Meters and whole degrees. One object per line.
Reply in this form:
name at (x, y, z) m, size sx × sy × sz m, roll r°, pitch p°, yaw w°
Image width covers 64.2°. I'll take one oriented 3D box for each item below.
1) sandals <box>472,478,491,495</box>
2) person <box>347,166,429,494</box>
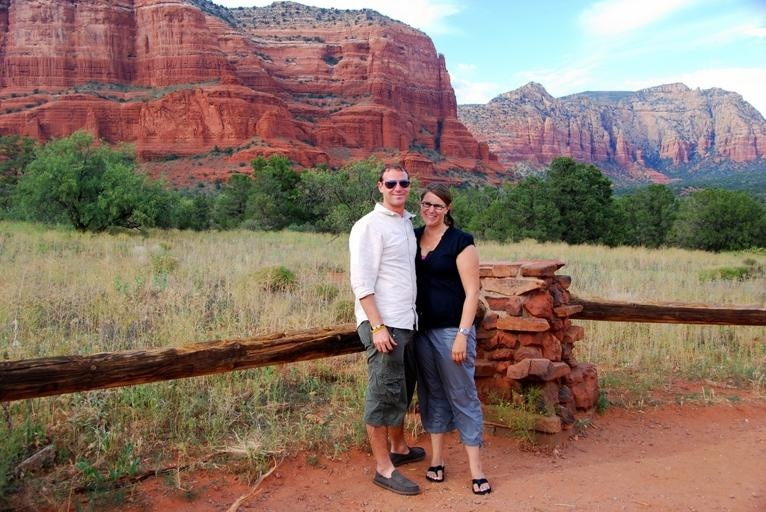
sandals at (1.098, 2.552, 6.759) m, size 0.225 × 0.164 × 0.158 m, roll -3°, pitch 6°, yaw 8°
person at (0.079, 0.820, 6.792) m, size 0.761 × 3.683 × 0.539 m, roll -6°, pitch 7°, yaw -12°
